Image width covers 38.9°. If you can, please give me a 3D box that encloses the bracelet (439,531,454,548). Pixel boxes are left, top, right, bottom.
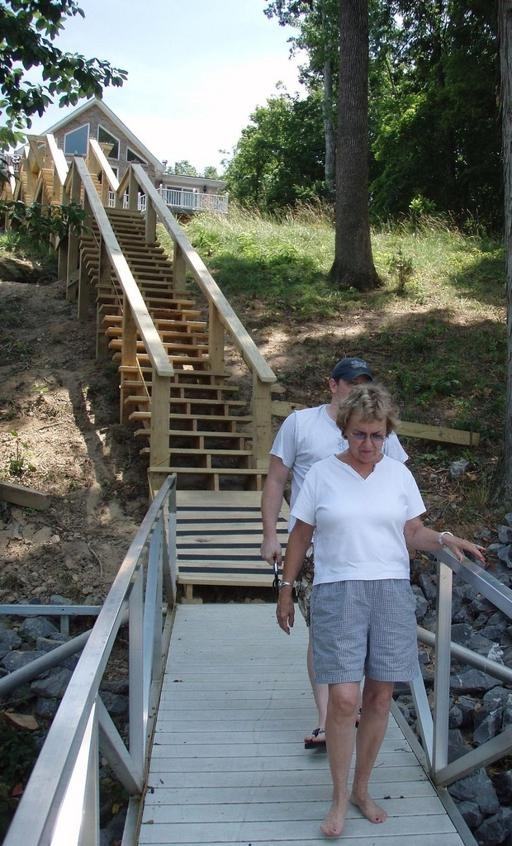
[{"bbox_3d":[0.593,0.355,2.245,0.019,0.047,0.050,-11,-2,-7],"label":"bracelet"}]

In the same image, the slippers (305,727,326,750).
[{"bbox_3d":[0.212,1.100,2.577,0.062,0.066,0.174,-2,-8,2],"label":"slippers"}]

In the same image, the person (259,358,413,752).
[{"bbox_3d":[0.353,0.631,2.553,0.525,1.407,0.497,-1,-10,2],"label":"person"}]

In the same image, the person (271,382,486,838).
[{"bbox_3d":[0.334,0.529,2.209,0.458,1.223,0.421,3,0,-24],"label":"person"}]

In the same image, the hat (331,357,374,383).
[{"bbox_3d":[0.343,-0.188,2.618,0.137,0.087,0.187,3,-1,5],"label":"hat"}]
